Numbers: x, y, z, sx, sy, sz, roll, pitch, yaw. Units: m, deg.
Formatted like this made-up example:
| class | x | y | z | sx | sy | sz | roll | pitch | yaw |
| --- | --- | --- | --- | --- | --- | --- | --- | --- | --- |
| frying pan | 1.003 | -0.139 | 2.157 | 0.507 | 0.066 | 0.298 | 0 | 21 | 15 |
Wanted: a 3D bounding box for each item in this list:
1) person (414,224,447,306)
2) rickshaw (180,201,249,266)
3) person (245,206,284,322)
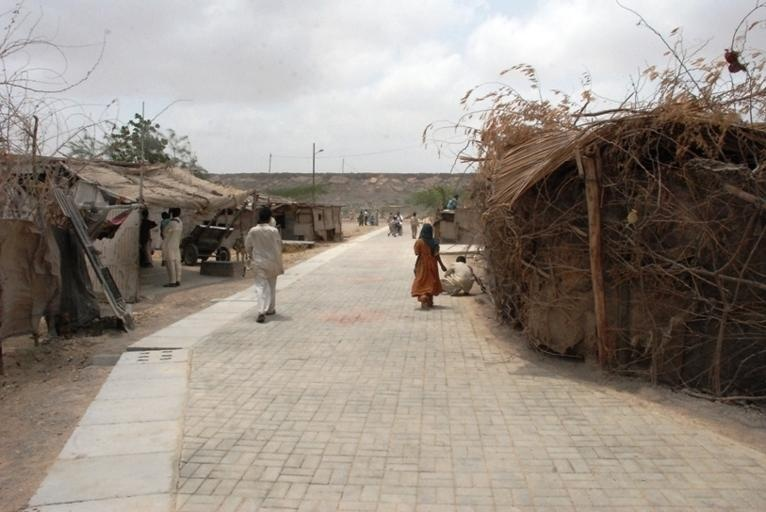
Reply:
| class | x | y | z | sx | sy | sz | roll | pitch | yaw |
| --- | --- | --- | --- | --- | --- | --- | --- | --- | --- |
| person | 0.881 | 0.200 | 11.215 | 0.682 | 1.526 | 0.669 | 0 | -1 | -3 |
| rickshaw | -5.534 | -0.616 | 18.222 | 1.844 | 1.981 | 3.263 | -4 | 14 | -11 |
| person | -2.187 | 0.118 | 10.473 | 0.795 | 2.007 | 0.843 | 1 | -1 | -12 |
